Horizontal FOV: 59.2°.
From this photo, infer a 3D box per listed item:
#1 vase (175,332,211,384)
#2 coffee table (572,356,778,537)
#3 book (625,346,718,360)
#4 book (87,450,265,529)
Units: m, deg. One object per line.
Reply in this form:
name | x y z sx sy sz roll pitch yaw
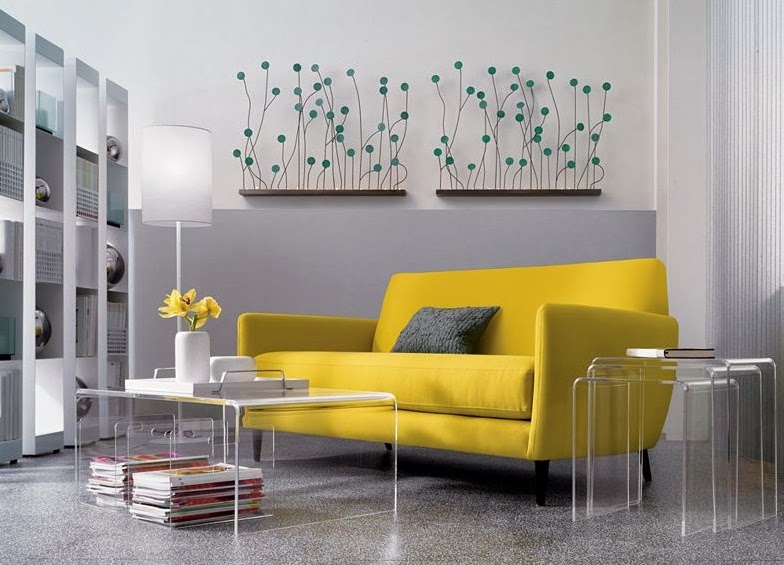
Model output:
vase | -0.776 0.285 2.663 0.130 0.193 0.199 1 -4 -17
coffee table | 1.014 0.477 2.696 0.603 0.761 0.739 6 -8 -37
book | 1.020 0.262 2.521 0.300 0.039 0.126 -2 -5 22
book | -0.765 0.737 2.486 0.397 0.149 0.326 1 -3 39
